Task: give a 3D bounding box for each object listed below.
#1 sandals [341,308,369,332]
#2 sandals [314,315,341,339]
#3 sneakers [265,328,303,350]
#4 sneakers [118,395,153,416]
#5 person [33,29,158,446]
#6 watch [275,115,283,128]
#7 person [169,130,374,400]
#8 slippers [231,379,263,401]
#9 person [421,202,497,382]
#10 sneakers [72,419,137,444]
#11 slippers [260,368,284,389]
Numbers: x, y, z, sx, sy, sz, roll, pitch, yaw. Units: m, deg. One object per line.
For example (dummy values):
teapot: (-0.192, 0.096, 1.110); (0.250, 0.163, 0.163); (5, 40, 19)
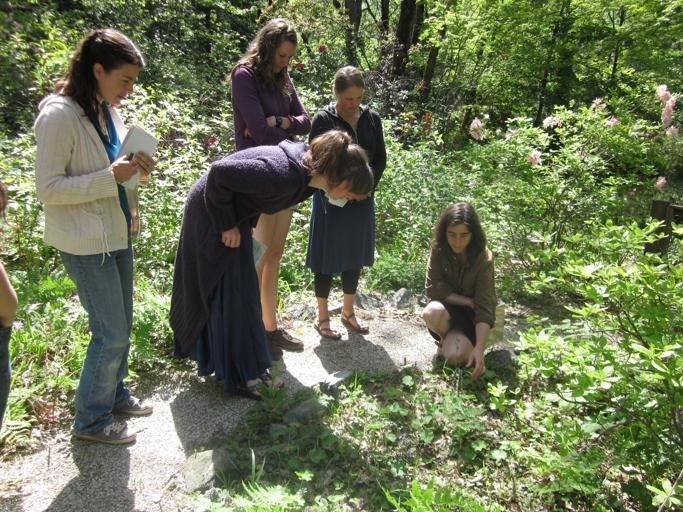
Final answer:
sandals: (0.110, 0.591, 4.782); (0.288, 0.127, 0.117); (24, 27, 36)
sandals: (-0.122, 0.637, 4.616); (0.114, 0.112, 0.258); (-6, 12, -38)
sneakers: (-0.481, 0.701, 4.407); (0.348, 0.164, 0.134); (8, 19, -14)
sneakers: (-1.468, 1.081, 3.768); (0.272, 0.113, 0.105); (2, 6, -4)
person: (-1.515, -0.081, 3.353); (0.586, 2.527, 0.870); (4, 24, 5)
watch: (-0.496, -1.073, 4.154); (0.070, 0.081, 0.077); (5, 7, 16)
person: (-0.595, 0.069, 3.719); (1.274, 1.874, 0.594); (-7, 25, -19)
slippers: (-0.732, 0.988, 3.864); (0.283, 0.118, 0.108); (2, 7, 22)
person: (0.964, 0.274, 4.220); (0.610, 1.232, 0.719); (9, 25, 16)
sneakers: (-1.528, 1.191, 3.463); (0.419, 0.172, 0.158); (2, 5, -8)
slippers: (-0.520, 0.906, 3.858); (0.213, 0.087, 0.084); (8, 22, 35)
